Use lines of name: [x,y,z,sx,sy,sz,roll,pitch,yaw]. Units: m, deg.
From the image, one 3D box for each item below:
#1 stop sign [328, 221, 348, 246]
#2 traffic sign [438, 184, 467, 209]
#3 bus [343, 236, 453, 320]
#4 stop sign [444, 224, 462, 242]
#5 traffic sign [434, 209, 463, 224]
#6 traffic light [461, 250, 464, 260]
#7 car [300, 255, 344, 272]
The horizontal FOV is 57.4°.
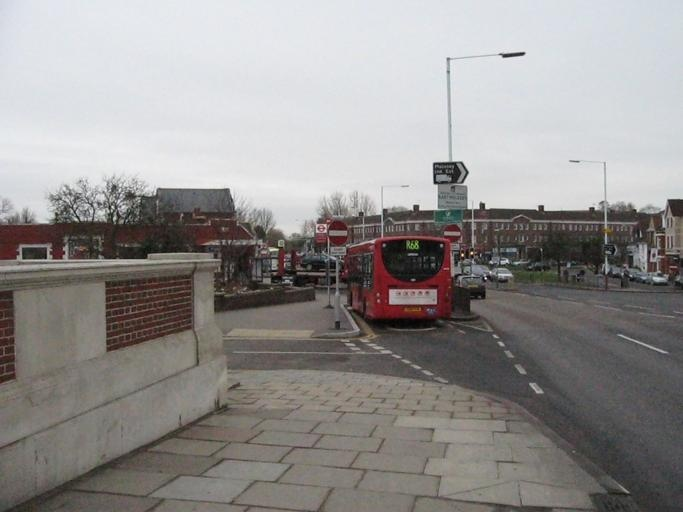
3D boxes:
stop sign: [-0.140,-0.729,20.028,0.702,0.713,0.124,-10,6,-28]
traffic sign: [4.029,-2.156,22.669,1.027,0.934,1.734,0,0,10]
bus: [1.814,0.675,22.444,1.985,2.111,4.527,0,3,-5]
stop sign: [4.157,-0.847,23.242,0.589,0.703,0.617,-1,-3,-25]
traffic sign: [3.902,-1.475,22.826,0.902,0.444,0.461,0,0,0]
traffic light: [8.225,-0.044,42.590,0.225,0.600,1.112,0,0,20]
car: [-1.789,0.900,46.697,2.536,1.212,1.535,-3,3,5]
